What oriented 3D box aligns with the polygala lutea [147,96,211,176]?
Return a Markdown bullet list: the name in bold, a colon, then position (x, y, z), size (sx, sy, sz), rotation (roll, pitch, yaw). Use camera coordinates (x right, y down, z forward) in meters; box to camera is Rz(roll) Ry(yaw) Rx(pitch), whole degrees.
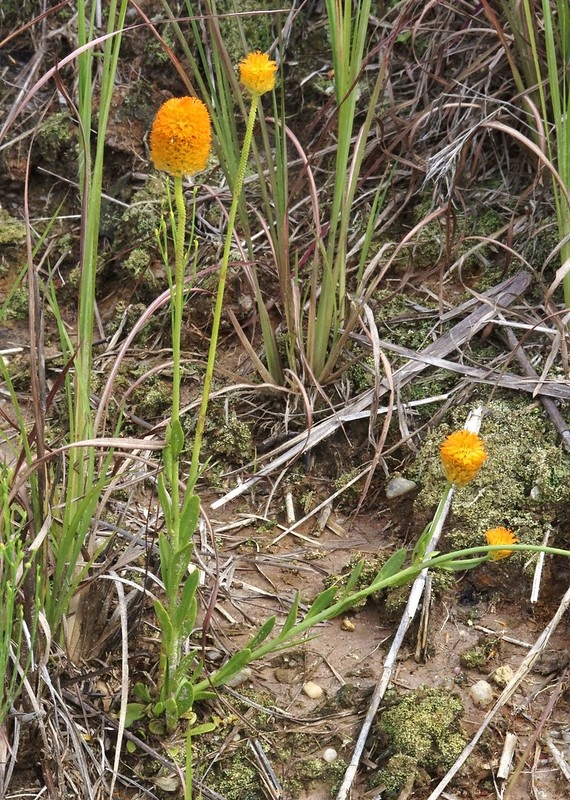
- **polygala lutea**: position (-0.136, -0.333, 0.998), size (0.069, 0.084, 0.070), rotation (17, 28, 13)
